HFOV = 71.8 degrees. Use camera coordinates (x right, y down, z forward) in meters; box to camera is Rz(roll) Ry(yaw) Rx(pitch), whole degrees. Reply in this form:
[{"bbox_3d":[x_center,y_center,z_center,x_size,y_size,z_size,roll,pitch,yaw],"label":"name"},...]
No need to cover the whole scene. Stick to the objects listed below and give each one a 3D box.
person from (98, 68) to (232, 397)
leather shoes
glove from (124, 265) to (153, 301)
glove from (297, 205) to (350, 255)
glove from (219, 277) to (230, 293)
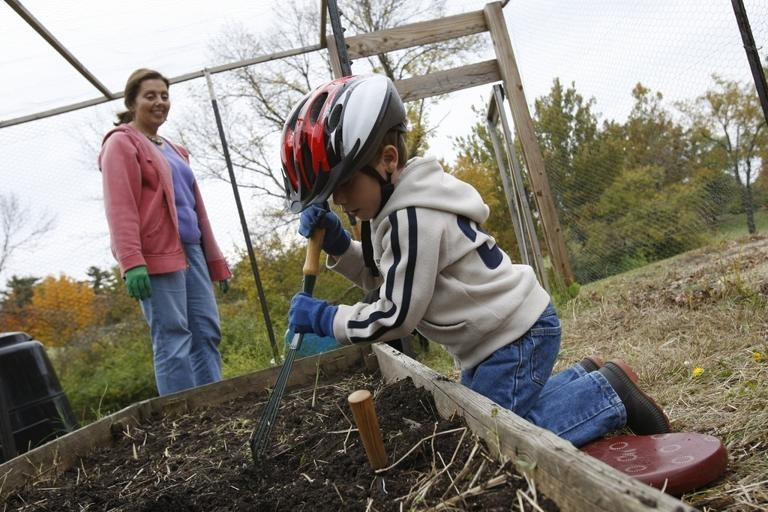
[{"bbox_3d":[-1.827,-0.228,4.459,0.543,2.023,0.951,-4,6,22],"label":"person"},{"bbox_3d":[1.440,0.861,3.128,0.277,0.687,0.234,-29,12,14],"label":"leather shoes"},{"bbox_3d":[-1.853,0.199,4.119,0.176,0.269,0.243,-4,18,-6],"label":"glove"},{"bbox_3d":[-0.405,-0.169,3.643,0.274,0.358,0.167,-38,29,14],"label":"glove"},{"bbox_3d":[-1.565,0.292,5.211,0.056,0.059,0.189,-17,27,11],"label":"glove"}]
